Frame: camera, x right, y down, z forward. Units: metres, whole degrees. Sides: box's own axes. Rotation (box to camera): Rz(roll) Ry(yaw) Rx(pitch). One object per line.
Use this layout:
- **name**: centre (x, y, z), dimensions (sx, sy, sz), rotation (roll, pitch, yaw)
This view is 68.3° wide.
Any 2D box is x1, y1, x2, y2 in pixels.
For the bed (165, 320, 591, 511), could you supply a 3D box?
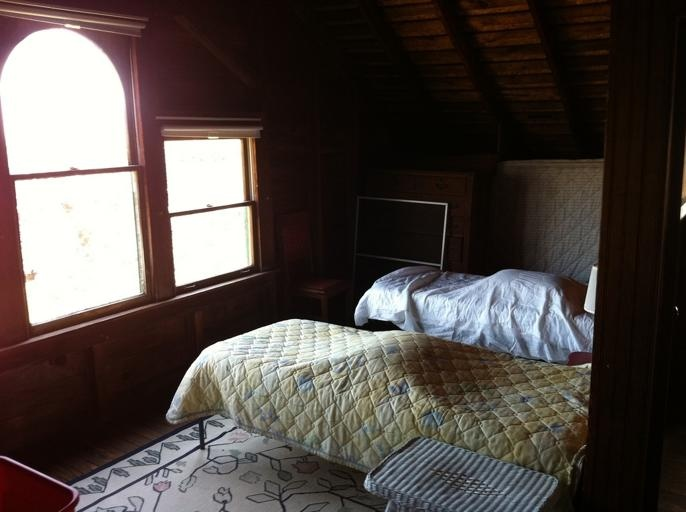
- **bed**: centre (0.207, 0.698, 2.679), dimensions (1.583, 0.444, 1.023), rotation (10, 11, 24)

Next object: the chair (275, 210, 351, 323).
- **chair**: centre (-0.243, 0.056, 4.707), dimensions (0.555, 0.907, 0.572), rotation (7, 13, 31)

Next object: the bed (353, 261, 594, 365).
- **bed**: centre (1.045, 0.398, 3.898), dimensions (1.117, 0.343, 0.736), rotation (6, 17, 26)

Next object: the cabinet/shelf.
- **cabinet/shelf**: centre (0.854, -0.333, 4.936), dimensions (0.933, 0.886, 0.313), rotation (6, 6, 23)
